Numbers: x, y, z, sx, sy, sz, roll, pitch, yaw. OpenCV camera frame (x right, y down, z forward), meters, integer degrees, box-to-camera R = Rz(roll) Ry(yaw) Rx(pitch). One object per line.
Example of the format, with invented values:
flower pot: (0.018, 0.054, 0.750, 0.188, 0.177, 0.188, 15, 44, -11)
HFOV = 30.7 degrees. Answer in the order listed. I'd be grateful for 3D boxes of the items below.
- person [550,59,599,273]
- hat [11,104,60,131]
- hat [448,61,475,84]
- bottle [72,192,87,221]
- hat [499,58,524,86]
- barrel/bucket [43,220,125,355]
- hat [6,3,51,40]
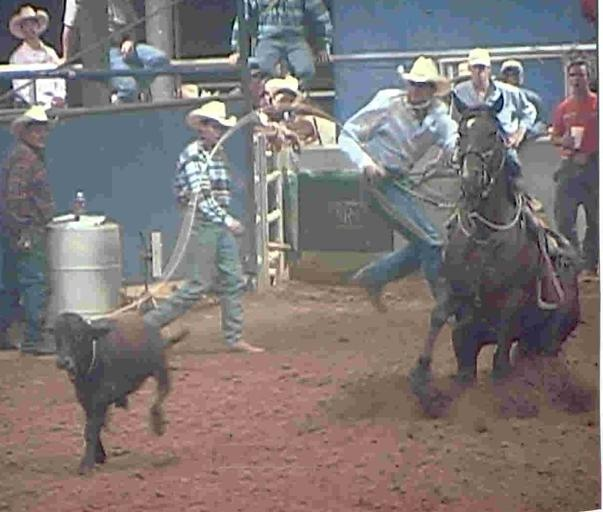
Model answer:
person: (1.654, -0.546, 6.636, 0.308, 1.293, 0.075, -1, 6, -14)
hat: (-1.573, -0.824, 6.474, 0.170, 0.169, 0.050, -17, 26, 3)
hat: (0.949, -1.102, 6.537, 0.118, 0.115, 0.039, 4, 13, 3)
bottle: (-1.314, -0.309, 6.539, 0.075, 0.173, 0.008, 0, 5, 2)
hat: (1.253, -1.110, 6.563, 0.120, 0.154, 0.160, 7, 45, 9)
barrel/bucket: (-1.227, 0.094, 6.600, 0.587, 0.957, 0.614, 2, 1, 0)
hat: (-1.604, -1.416, 6.481, 0.216, 0.214, 0.084, -17, 6, -1)
